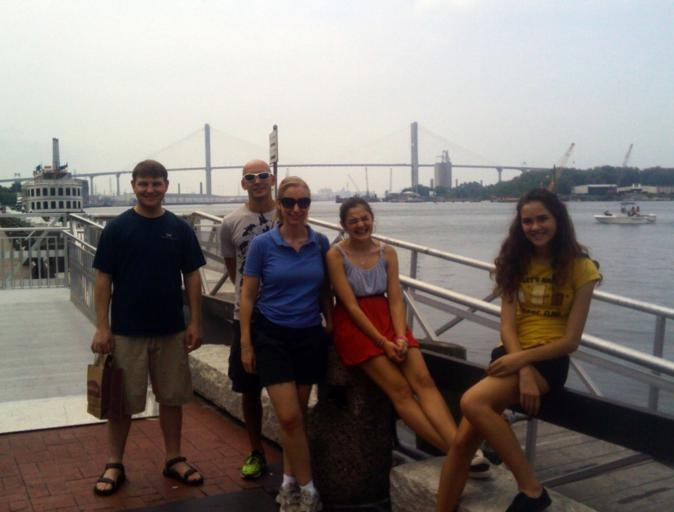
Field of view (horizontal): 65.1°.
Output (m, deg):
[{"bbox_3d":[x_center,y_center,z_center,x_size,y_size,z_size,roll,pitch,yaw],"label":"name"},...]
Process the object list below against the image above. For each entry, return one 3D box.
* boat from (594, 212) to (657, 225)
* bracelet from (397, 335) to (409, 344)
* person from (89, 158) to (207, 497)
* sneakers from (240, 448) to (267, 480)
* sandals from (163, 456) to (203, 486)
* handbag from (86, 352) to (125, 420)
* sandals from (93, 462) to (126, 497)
[{"bbox_3d":[41.185,-5.291,75.381,8.054,2.186,2.956,1,-2,-2],"label":"boat"},{"bbox_3d":[0.381,0.483,3.046,0.039,0.025,0.048,3,7,-7],"label":"bracelet"},{"bbox_3d":[-1.220,0.417,3.477,0.630,2.060,0.388,-2,5,3],"label":"person"},{"bbox_3d":[-0.555,1.386,3.476,0.099,0.108,0.236,0,-8,5],"label":"sneakers"},{"bbox_3d":[-1.000,1.398,3.416,0.258,0.114,0.122,-1,-3,44],"label":"sandals"},{"bbox_3d":[-1.493,0.820,3.344,0.266,0.396,0.122,-1,5,16],"label":"handbag"},{"bbox_3d":[-1.427,1.388,3.325,0.209,0.139,0.226,-6,6,-32],"label":"sandals"}]
